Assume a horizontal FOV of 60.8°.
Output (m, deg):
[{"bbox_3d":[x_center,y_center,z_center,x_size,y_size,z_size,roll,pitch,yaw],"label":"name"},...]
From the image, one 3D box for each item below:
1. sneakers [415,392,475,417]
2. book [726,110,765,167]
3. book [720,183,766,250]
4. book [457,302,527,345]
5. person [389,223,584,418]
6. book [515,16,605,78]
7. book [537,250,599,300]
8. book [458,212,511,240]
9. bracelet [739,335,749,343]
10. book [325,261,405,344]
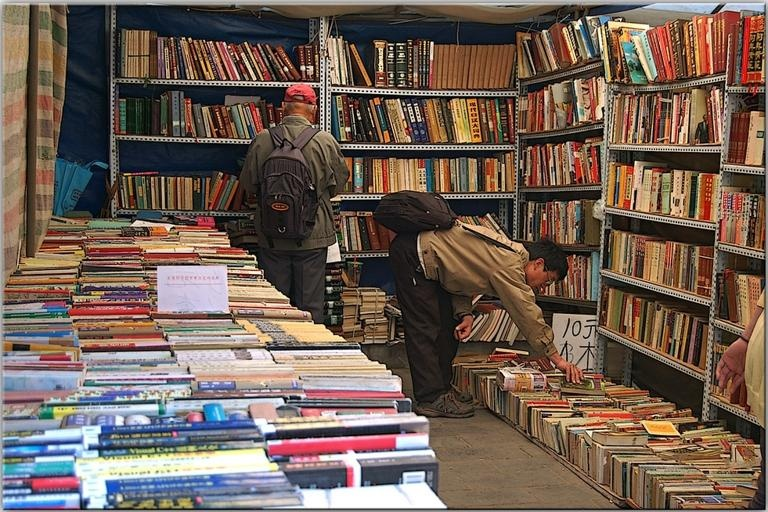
[{"bbox_3d":[0.474,1.132,5.012,0.393,0.154,0.188,0,-2,0],"label":"sneakers"},{"bbox_3d":[2.305,-0.735,4.072,0.151,0.340,0.313,-4,11,-16],"label":"book"},{"bbox_3d":[2.258,-0.234,4.110,0.351,0.411,0.462,2,1,16],"label":"book"},{"bbox_3d":[1.088,0.694,6.516,0.483,0.186,0.570,0,3,-6],"label":"book"},{"bbox_3d":[0.803,0.458,4.867,1.528,1.366,0.771,3,2,28],"label":"person"},{"bbox_3d":[1.680,-1.985,6.239,0.531,0.219,0.689,-22,16,-33],"label":"book"},{"bbox_3d":[1.609,0.157,5.581,0.206,0.428,0.488,-4,5,-34],"label":"book"},{"bbox_3d":[1.079,-0.371,7.050,0.427,0.104,0.391,25,6,-12],"label":"book"},{"bbox_3d":[1.658,0.381,3.019,0.036,0.008,0.032,30,16,-48],"label":"bracelet"},{"bbox_3d":[-0.222,0.469,6.624,0.728,0.299,0.879,1,10,-4],"label":"book"}]
